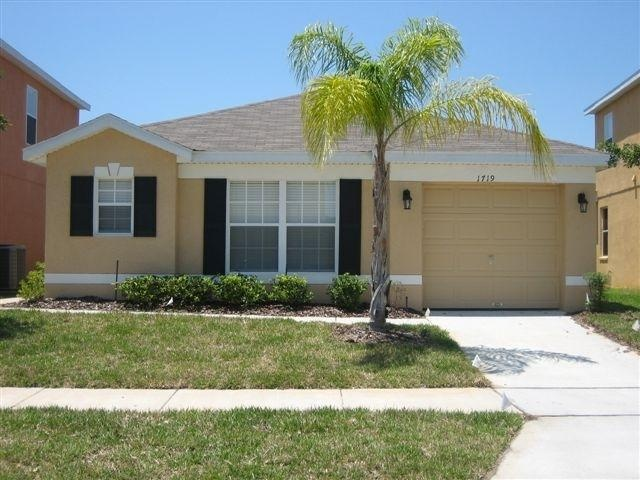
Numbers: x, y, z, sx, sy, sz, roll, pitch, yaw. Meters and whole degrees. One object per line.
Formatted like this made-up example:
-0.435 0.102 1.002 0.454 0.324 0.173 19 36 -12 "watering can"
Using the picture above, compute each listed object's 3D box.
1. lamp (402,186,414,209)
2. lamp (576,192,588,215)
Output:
2.195 -1.004 15.607 0.262 0.487 0.262 1 11 -2 "lamp"
6.583 -0.924 15.691 0.261 0.503 0.137 8 13 32 "lamp"
